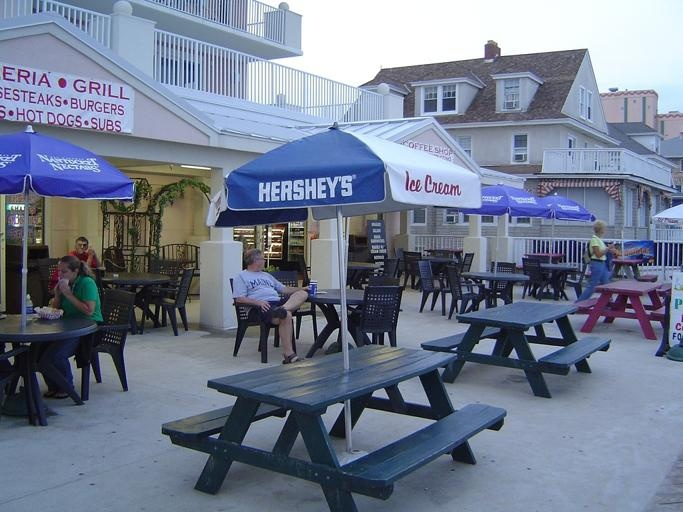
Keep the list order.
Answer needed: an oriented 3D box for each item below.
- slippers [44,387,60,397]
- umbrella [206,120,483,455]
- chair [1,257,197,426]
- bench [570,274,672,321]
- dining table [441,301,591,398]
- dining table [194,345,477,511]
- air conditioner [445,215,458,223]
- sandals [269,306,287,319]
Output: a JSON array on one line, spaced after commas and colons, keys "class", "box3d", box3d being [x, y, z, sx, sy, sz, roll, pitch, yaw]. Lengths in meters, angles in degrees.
[{"class": "slippers", "box3d": [-3.467, 1.639, 7.575, 0.101, 0.060, 0.179, 2, -5, -10]}, {"class": "umbrella", "box3d": [0.411, 0.333, 6.920, 3.226, 3.462, 3.469, -2, 6, -2]}, {"class": "chair", "box3d": [-3.023, 0.927, 7.406, 1.493, 1.668, 1.839, -1, -2, 37]}, {"class": "bench", "box3d": [5.490, 0.923, 12.390, 1.468, 0.686, 1.543, 0, 2, 26]}, {"class": "dining table", "box3d": [2.301, 1.082, 8.631, 1.456, 0.699, 1.579, 1, 4, 35]}, {"class": "dining table", "box3d": [-0.352, 1.163, 5.470, 1.491, 0.713, 1.649, 4, 5, 36]}, {"class": "air conditioner", "box3d": [5.283, -1.768, 30.286, 0.678, 0.443, 0.366, 2, 8, 35]}, {"class": "sandals", "box3d": [-0.901, 0.813, 9.052, 0.321, 0.105, 0.134, 2, 2, 42]}]
